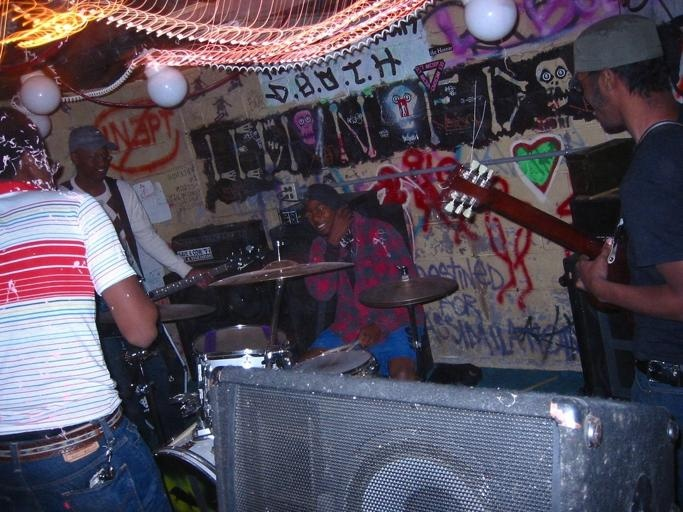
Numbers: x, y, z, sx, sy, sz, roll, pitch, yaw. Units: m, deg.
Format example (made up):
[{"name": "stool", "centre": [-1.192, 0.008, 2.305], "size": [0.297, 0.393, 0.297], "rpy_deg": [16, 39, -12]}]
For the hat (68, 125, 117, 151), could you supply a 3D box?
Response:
[{"name": "hat", "centre": [-1.951, -0.917, 4.059], "size": [0.309, 0.148, 0.219], "rpy_deg": [-5, 8, 5]}]

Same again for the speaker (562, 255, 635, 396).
[{"name": "speaker", "centre": [1.519, 0.403, 3.271], "size": [0.318, 0.995, 0.640], "rpy_deg": [-1, 2, 17]}]

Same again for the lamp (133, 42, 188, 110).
[{"name": "lamp", "centre": [-1.446, -1.495, 4.256], "size": [0.336, 0.509, 0.325], "rpy_deg": [-9, 11, -32]}]

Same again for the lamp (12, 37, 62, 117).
[{"name": "lamp", "centre": [-2.675, -1.494, 4.579], "size": [0.305, 0.349, 0.399], "rpy_deg": [-16, 10, -30]}]

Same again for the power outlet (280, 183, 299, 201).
[{"name": "power outlet", "centre": [-0.485, -0.601, 4.844], "size": [0.173, 0.163, 0.041], "rpy_deg": [-5, 4, 32]}]

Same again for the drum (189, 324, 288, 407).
[{"name": "drum", "centre": [-0.606, 0.538, 2.994], "size": [0.653, 0.442, 0.621], "rpy_deg": [0, 0, 0]}]

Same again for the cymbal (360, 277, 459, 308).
[{"name": "cymbal", "centre": [0.414, 0.222, 3.198], "size": [0.593, 0.142, 0.455], "rpy_deg": [-9, 9, 6]}]

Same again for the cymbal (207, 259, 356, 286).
[{"name": "cymbal", "centre": [-0.349, 0.113, 3.094], "size": [0.728, 0.098, 0.405], "rpy_deg": [-4, 10, 35]}]

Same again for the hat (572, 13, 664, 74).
[{"name": "hat", "centre": [0.975, -0.712, 1.818], "size": [0.250, 0.129, 0.250], "rpy_deg": [1, 17, 34]}]
